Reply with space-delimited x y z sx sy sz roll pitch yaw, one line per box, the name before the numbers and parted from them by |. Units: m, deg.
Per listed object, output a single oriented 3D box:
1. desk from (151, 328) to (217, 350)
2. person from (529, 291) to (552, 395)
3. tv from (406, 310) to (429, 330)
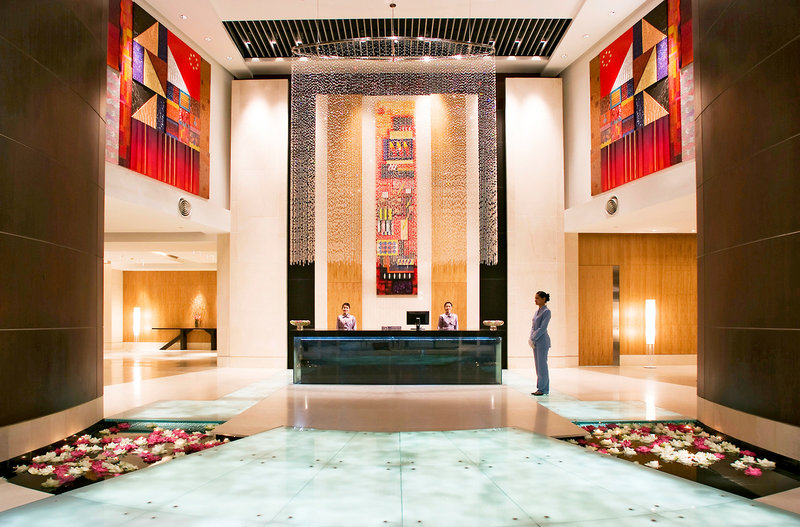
desk | -8.251 2.871 20.722 2.501 0.629 0.982 0 0 5
person | 2.514 1.366 9.633 0.329 1.765 1.314 0 0 14
tv | 0.359 1.087 10.403 0.507 0.424 0.165 1 -3 -4
